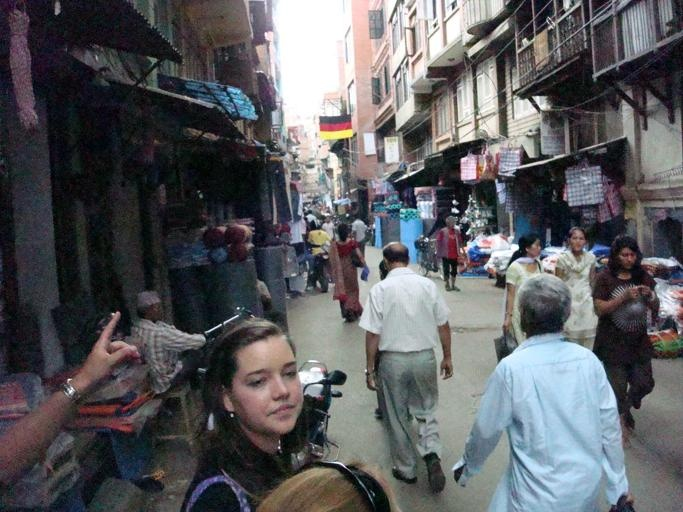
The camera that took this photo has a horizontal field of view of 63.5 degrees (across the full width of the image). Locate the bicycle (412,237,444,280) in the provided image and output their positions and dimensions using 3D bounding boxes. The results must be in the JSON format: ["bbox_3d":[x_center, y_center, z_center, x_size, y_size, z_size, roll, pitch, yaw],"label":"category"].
[{"bbox_3d":[2.531,0.117,16.562,0.775,1.173,1.930,-2,-9,8],"label":"bicycle"}]

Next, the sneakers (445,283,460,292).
[{"bbox_3d":[2.651,0.786,13.196,0.135,0.155,0.368,3,-4,-36],"label":"sneakers"}]

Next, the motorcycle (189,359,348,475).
[{"bbox_3d":[-0.478,1.440,4.954,0.880,0.989,1.412,-2,7,5],"label":"motorcycle"}]

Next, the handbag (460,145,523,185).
[{"bbox_3d":[3.952,-2.377,14.584,1.180,0.524,0.823,-17,5,4],"label":"handbag"}]

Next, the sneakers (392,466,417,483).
[{"bbox_3d":[0.543,1.933,4.901,0.243,0.110,0.091,18,25,39],"label":"sneakers"}]

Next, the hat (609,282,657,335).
[{"bbox_3d":[2.711,0.491,5.190,0.406,0.387,0.139,3,-32,13],"label":"hat"}]

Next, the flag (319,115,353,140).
[{"bbox_3d":[-0.318,-7.738,33.342,2.531,1.942,0.134,-1,-5,0],"label":"flag"}]

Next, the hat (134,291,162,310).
[{"bbox_3d":[-1.767,0.391,5.041,0.178,0.162,0.141,-28,40,-29],"label":"hat"}]

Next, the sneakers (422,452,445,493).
[{"bbox_3d":[0.804,1.859,4.775,0.127,0.141,0.349,-17,48,-1],"label":"sneakers"}]

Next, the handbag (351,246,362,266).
[{"bbox_3d":[0.318,0.033,10.200,0.238,0.266,0.296,-3,7,5],"label":"handbag"}]

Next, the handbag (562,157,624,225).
[{"bbox_3d":[4.947,-1.254,10.843,1.057,1.137,0.394,-12,9,24],"label":"handbag"}]
